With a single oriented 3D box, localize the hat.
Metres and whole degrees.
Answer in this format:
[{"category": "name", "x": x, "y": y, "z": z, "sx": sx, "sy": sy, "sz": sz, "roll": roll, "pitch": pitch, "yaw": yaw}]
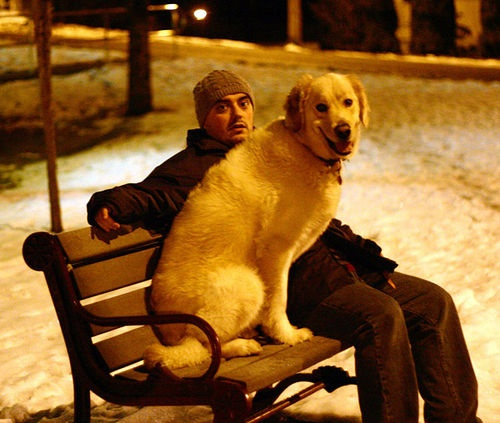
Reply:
[{"category": "hat", "x": -0.244, "y": -0.765, "z": 4.447, "sx": 0.425, "sy": 0.298, "sz": 0.416, "roll": -20, "pitch": 0, "yaw": 44}]
